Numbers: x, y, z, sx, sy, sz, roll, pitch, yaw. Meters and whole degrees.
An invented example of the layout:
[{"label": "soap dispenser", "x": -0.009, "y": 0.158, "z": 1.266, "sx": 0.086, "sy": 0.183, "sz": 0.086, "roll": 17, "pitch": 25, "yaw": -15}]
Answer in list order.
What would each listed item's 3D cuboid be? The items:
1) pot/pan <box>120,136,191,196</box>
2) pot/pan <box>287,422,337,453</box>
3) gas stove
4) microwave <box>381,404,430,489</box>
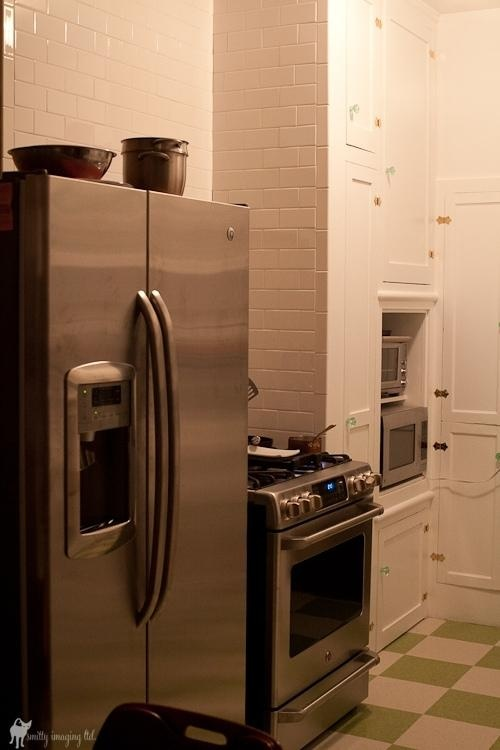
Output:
[{"label": "pot/pan", "x": -0.241, "y": -0.478, "z": 1.596, "sx": 0.158, "sy": 0.138, "sz": 0.183, "roll": 1, "pitch": 1, "yaw": -19}, {"label": "pot/pan", "x": 0.247, "y": 0.249, "z": 2.465, "sx": 0.169, "sy": 0.121, "sz": 0.103, "roll": 0, "pitch": -4, "yaw": -2}, {"label": "gas stove", "x": 0.188, "y": 0.393, "z": 2.216, "sx": 0.296, "sy": 0.202, "sz": 0.668, "roll": -2, "pitch": -3, "yaw": 37}, {"label": "microwave", "x": 0.755, "y": 0.373, "z": 3.302, "sx": 0.420, "sy": 0.368, "sz": 0.247, "roll": -5, "pitch": 7, "yaw": -40}]
